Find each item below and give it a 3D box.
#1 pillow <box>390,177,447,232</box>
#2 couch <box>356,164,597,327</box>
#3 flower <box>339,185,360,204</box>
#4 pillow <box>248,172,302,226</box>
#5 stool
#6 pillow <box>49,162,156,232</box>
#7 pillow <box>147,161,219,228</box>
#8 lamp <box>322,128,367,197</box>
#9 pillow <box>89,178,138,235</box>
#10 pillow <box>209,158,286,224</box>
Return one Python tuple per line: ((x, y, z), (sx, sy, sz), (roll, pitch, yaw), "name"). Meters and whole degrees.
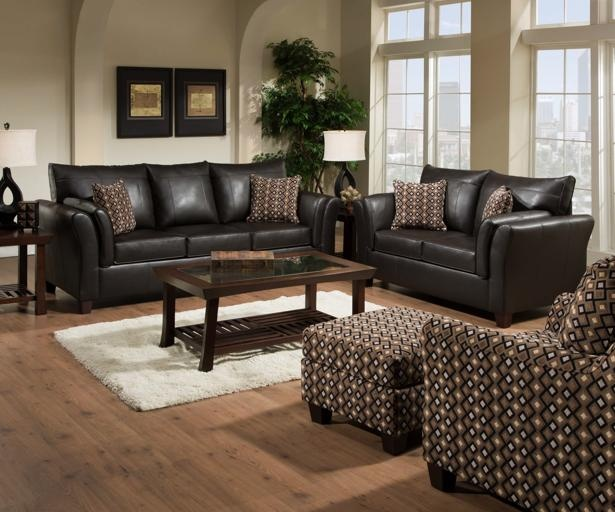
((1.125, -0.493, 5.075), (0.627, 0.520, 0.217), (2, -5, 10), "pillow")
((1.510, -0.241, 4.903), (1.237, 1.097, 2.171), (-15, 18, -29), "couch")
((0.512, -0.704, 5.826), (0.281, 0.233, 0.265), (1, 5, 19), "flower")
((-0.332, -0.604, 5.447), (0.600, 0.474, 0.207), (2, 2, 6), "pillow")
((0.436, 0.491, 2.571), (0.708, 0.490, 0.707), (-9, 12, -42), "stool")
((-2.024, -0.620, 5.019), (0.386, 0.655, 1.088), (12, 13, 31), "pillow")
((-1.271, -0.620, 5.182), (0.762, 0.636, 0.227), (-10, -4, -37), "pillow")
((0.429, -1.059, 5.869), (0.541, 0.727, 0.520), (-4, 5, -29), "lamp")
((-1.753, -0.435, 4.533), (0.256, 0.444, 0.535), (5, 10, 15), "pillow")
((-0.646, -0.760, 5.702), (0.366, 0.685, 1.051), (18, 24, 40), "pillow")
